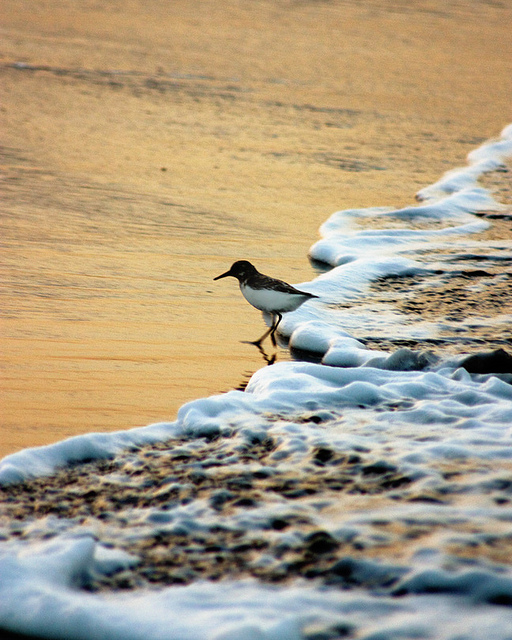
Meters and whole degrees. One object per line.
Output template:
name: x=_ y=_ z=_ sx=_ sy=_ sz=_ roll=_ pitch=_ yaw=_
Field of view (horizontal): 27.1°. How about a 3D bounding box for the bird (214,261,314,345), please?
bird: x=0.088 y=-0.130 z=7.117 sx=0.797 sy=0.504 sz=0.305 roll=4 pitch=-6 yaw=24
